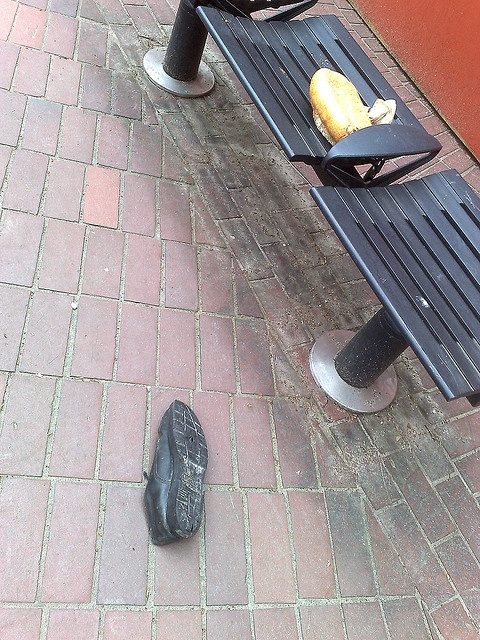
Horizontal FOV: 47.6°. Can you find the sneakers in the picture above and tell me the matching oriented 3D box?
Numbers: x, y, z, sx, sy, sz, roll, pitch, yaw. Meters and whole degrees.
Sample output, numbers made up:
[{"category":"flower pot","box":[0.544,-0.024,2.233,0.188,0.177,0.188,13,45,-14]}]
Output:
[{"category":"sneakers","box":[-0.184,0.417,1.520,0.121,0.146,0.376,12,50,-24]}]
